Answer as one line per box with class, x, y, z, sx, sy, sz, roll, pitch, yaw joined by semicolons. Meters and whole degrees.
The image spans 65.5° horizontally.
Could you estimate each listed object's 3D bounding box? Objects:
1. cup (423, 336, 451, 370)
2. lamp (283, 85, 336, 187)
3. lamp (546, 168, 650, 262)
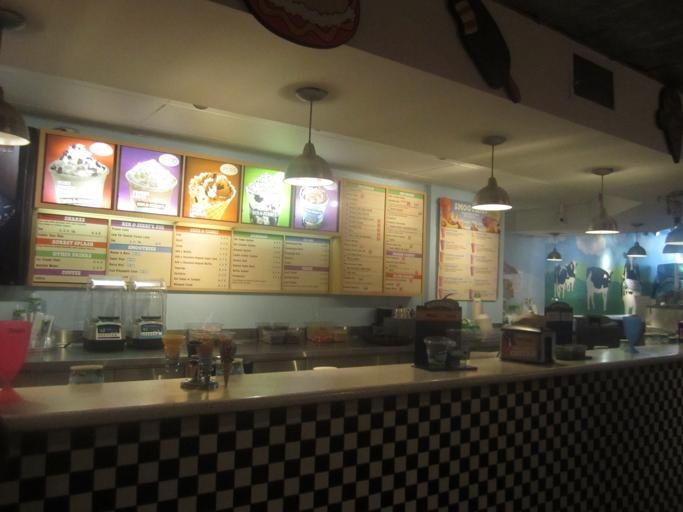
cup;0.565;0.572;3.126;0.181;0.175;0.153;2;-6;-1
lamp;-0.214;-0.826;3.843;0.349;0.641;0.932;5;8;-3
lamp;3.316;-0.525;6.993;0.962;0.801;0.311;0;-4;-12
